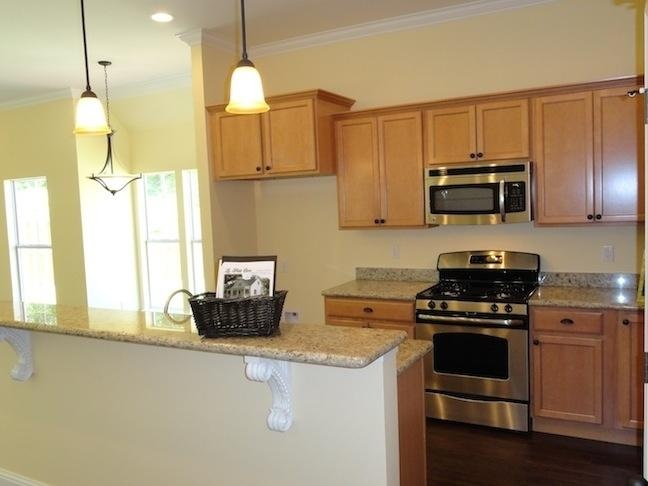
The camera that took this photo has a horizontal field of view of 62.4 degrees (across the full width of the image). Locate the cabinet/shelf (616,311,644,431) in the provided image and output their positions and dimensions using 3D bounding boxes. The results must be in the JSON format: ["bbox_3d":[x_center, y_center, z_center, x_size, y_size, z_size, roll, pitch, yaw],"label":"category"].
[{"bbox_3d":[2.171,0.908,3.810,0.171,0.858,0.130,2,5,29],"label":"cabinet/shelf"}]

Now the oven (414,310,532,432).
[{"bbox_3d":[1.334,1.062,4.486,0.948,0.859,0.679,-5,-6,37],"label":"oven"}]

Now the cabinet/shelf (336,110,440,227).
[{"bbox_3d":[0.605,-0.675,4.753,1.129,1.337,0.544,0,1,21],"label":"cabinet/shelf"}]

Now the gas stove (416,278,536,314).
[{"bbox_3d":[1.277,0.450,4.455,0.894,0.192,0.562,1,4,24],"label":"gas stove"}]

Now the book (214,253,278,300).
[{"bbox_3d":[-0.383,0.171,2.660,0.350,0.291,0.047,1,-13,8],"label":"book"}]

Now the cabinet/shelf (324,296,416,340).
[{"bbox_3d":[0.413,0.571,4.637,0.633,0.557,0.340,0,0,21],"label":"cabinet/shelf"}]

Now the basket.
[{"bbox_3d":[-0.426,0.349,2.580,0.337,0.138,0.270,-1,-1,5],"label":"basket"}]
